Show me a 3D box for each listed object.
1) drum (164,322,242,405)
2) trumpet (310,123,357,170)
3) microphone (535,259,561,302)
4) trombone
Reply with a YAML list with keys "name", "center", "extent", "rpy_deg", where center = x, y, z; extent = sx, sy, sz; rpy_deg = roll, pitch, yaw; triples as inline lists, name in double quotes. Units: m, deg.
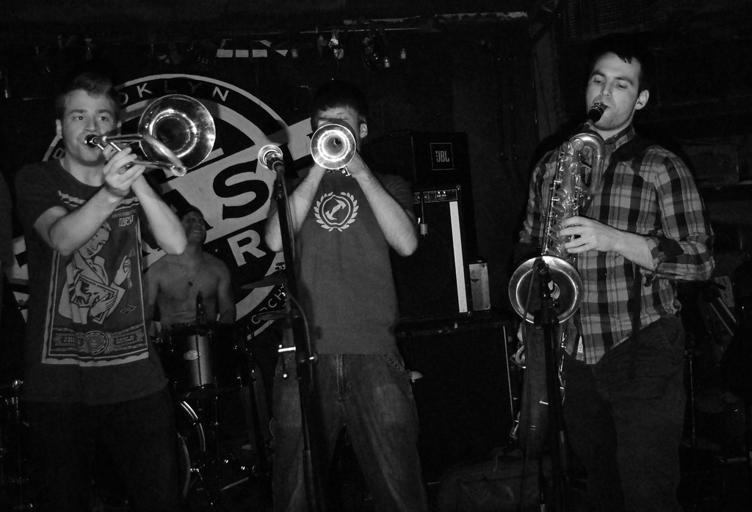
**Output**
- name: "drum"
  center: [-1.351, 0.788, 5.090]
  extent: [0.517, 0.585, 0.495]
  rpy_deg: [2, 6, -17]
- name: "trumpet"
  center: [-0.218, -0.585, 3.431]
  extent: [0.239, 0.251, 0.238]
  rpy_deg: [-1, 0, -3]
- name: "microphone"
  center: [0.923, 0.142, 3.416]
  extent: [0.096, 0.329, 0.118]
  rpy_deg: [-13, 29, 15]
- name: "trombone"
  center: [-1.226, -0.663, 3.596]
  extent: [0.395, 0.371, 0.689]
  rpy_deg: [-25, 22, -37]
